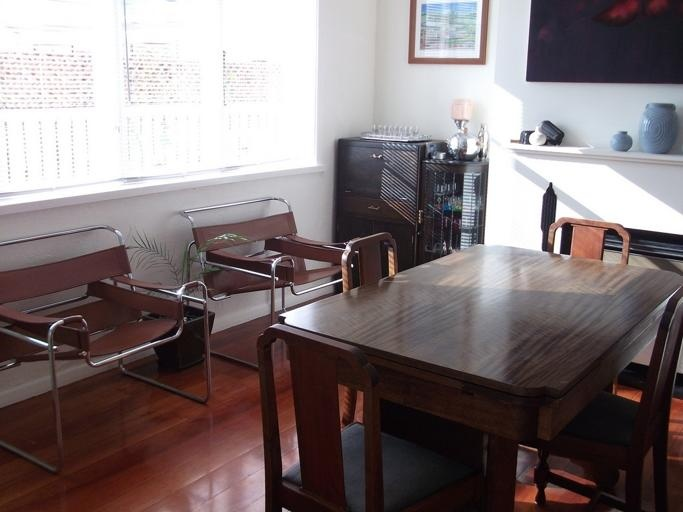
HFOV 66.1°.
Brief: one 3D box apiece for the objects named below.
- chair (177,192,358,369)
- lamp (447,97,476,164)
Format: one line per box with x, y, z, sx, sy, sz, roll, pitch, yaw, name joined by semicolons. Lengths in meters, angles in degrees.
-0.508;0.328;4.088;1.109;1.355;1.249;15;24;37;chair
1.047;-1.096;4.511;0.255;0.471;0.458;1;19;11;lamp
